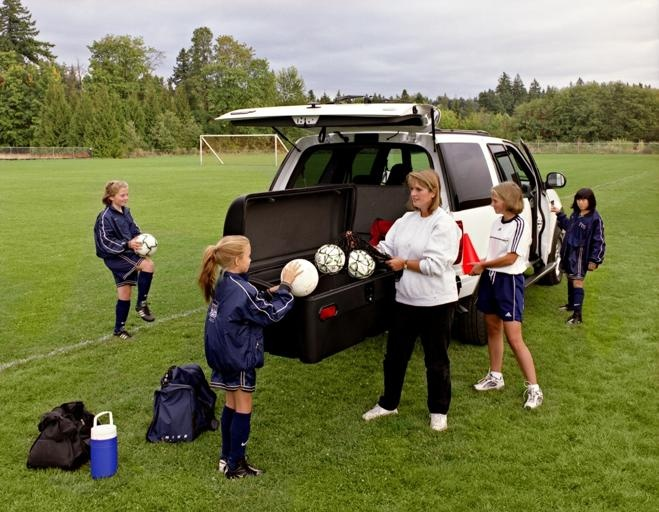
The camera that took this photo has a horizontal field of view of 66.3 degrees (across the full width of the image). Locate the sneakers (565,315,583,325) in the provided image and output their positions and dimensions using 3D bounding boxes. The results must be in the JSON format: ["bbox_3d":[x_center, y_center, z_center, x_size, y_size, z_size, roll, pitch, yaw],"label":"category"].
[{"bbox_3d":[3.140,0.837,6.504,0.088,0.110,0.251,-1,-1,40],"label":"sneakers"}]

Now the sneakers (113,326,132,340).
[{"bbox_3d":[-2.565,0.941,6.199,0.301,0.145,0.104,1,8,32],"label":"sneakers"}]

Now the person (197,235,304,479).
[{"bbox_3d":[-0.615,0.745,3.577,0.632,1.741,0.398,6,14,26],"label":"person"}]

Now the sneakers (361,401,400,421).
[{"bbox_3d":[0.422,1.348,4.452,0.357,0.149,0.121,-3,0,-13],"label":"sneakers"}]

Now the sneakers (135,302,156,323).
[{"bbox_3d":[-2.358,0.712,6.586,0.151,0.215,0.427,-23,29,-37],"label":"sneakers"}]

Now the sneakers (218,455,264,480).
[{"bbox_3d":[-0.652,1.536,3.709,0.341,0.157,0.131,5,25,-25],"label":"sneakers"}]

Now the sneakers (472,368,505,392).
[{"bbox_3d":[1.478,1.204,4.874,0.381,0.180,0.131,-2,3,-12],"label":"sneakers"}]

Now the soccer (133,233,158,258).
[{"bbox_3d":[-2.240,-0.096,6.140,0.243,0.245,0.245,26,22,-23],"label":"soccer"}]

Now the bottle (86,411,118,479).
[{"bbox_3d":[-1.633,1.324,3.625,0.197,0.506,0.191,-1,13,0],"label":"bottle"}]

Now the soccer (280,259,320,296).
[{"bbox_3d":[-0.185,0.141,3.759,0.248,0.285,0.266,-14,46,13],"label":"soccer"}]

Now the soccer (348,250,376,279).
[{"bbox_3d":[0.258,0.078,4.223,0.184,0.195,0.240,3,-1,7],"label":"soccer"}]

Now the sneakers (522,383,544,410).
[{"bbox_3d":[1.824,1.264,4.530,0.110,0.214,0.343,-4,1,28],"label":"sneakers"}]

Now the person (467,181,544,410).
[{"bbox_3d":[1.629,0.341,4.585,0.684,1.970,0.482,5,14,23],"label":"person"}]

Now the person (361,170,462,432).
[{"bbox_3d":[0.709,0.371,4.204,0.648,2.128,0.394,4,13,19],"label":"person"}]

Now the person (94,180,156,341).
[{"bbox_3d":[-2.459,0.035,6.169,0.513,1.875,0.581,1,13,7],"label":"person"}]

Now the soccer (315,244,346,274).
[{"bbox_3d":[0.000,0.017,4.355,0.231,0.250,0.246,-2,7,2],"label":"soccer"}]
